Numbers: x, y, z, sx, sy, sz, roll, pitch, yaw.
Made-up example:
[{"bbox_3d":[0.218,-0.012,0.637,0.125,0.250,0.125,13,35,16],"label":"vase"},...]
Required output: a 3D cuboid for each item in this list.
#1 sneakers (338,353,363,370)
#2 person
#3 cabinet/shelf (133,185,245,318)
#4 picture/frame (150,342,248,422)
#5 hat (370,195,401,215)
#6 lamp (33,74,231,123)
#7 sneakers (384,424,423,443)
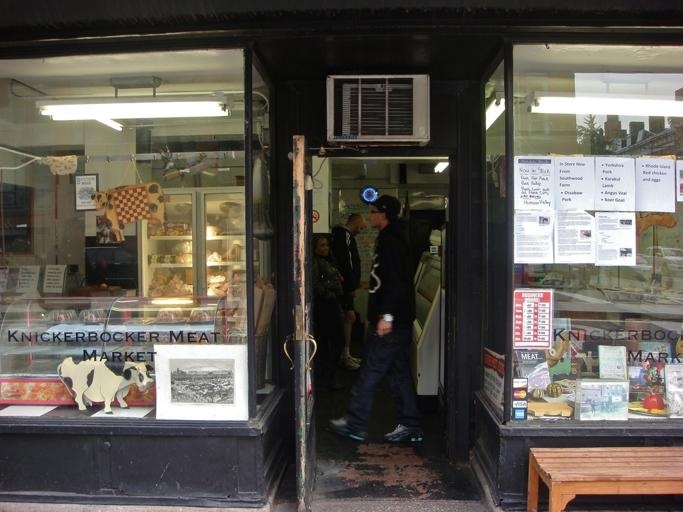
[{"bbox_3d":[0.105,1.276,8.334,0.205,0.244,0.233,-6,19,5],"label":"sneakers"},{"bbox_3d":[0.353,0.562,6.296,0.839,2.200,0.630,1,9,6],"label":"person"},{"bbox_3d":[-1.308,-0.055,5.907,1.052,1.053,0.360,-1,-3,10],"label":"cabinet/shelf"},{"bbox_3d":[-1.073,0.990,5.236,0.590,0.470,0.027,0,-4,0],"label":"picture/frame"},{"bbox_3d":[0.426,-0.474,6.384,0.217,0.117,0.163,23,15,6],"label":"hat"},{"bbox_3d":[-1.722,-1.336,5.775,1.708,0.359,0.365,2,10,9],"label":"lamp"},{"bbox_3d":[0.573,1.638,6.290,0.402,0.233,0.135,2,-4,-1],"label":"sneakers"}]
